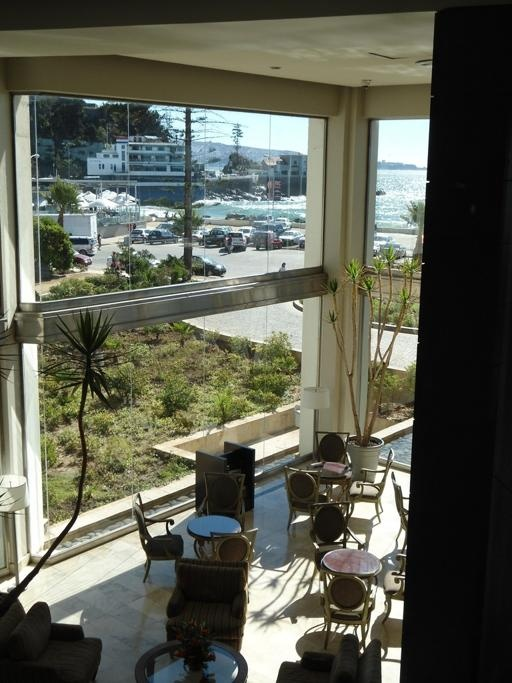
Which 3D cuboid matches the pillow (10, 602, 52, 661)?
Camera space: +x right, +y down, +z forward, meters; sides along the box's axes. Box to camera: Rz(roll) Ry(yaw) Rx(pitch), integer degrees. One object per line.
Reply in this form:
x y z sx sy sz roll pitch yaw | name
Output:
-1.987 2.573 4.935 0.102 0.149 0.327 -25 8 2 | pillow

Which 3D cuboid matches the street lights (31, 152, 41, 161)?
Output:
-2.742 -2.287 6.970 0.043 0.071 0.127 3 8 12 | street lights
